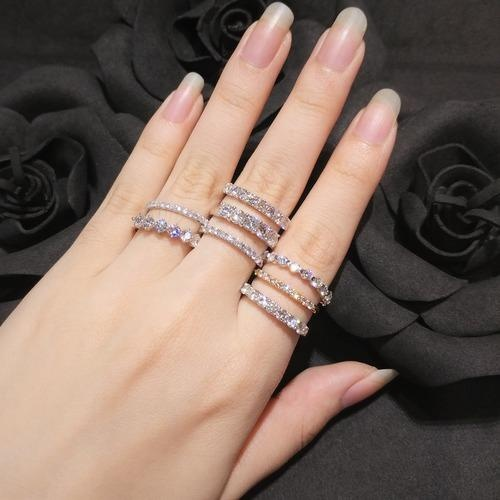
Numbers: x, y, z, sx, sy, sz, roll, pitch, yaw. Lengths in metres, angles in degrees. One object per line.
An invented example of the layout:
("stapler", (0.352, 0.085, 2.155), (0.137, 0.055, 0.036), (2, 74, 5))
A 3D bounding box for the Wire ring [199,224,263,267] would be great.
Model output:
("Wire ring", (-0.047, -0.022, 1.622), (0.122, 0.124, 0.027), (36, 90, -16))

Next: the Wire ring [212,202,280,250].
("Wire ring", (-0.006, -0.047, 1.674), (0.132, 0.124, 0.137), (-2, 84, 18))

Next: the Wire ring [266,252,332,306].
("Wire ring", (0.141, 0.071, 1.694), (0.159, 0.131, 0.166), (0, 90, 0))

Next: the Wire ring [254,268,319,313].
("Wire ring", (0.100, 0.111, 1.607), (0.131, 0.124, 0.029), (34, 96, -30))
